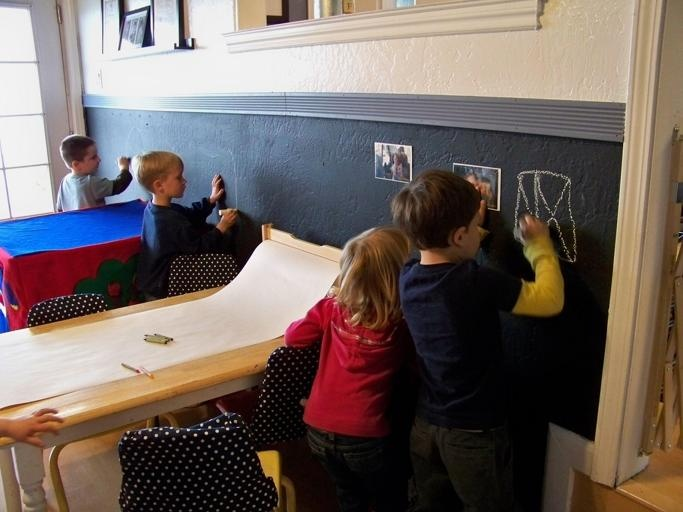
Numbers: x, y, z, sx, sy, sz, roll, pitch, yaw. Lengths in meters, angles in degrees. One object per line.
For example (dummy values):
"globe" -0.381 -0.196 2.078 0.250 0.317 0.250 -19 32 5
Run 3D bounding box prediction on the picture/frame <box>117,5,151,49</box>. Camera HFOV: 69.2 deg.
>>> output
"picture/frame" -1.243 -1.373 2.932 0.022 0.263 0.289 2 12 -44
